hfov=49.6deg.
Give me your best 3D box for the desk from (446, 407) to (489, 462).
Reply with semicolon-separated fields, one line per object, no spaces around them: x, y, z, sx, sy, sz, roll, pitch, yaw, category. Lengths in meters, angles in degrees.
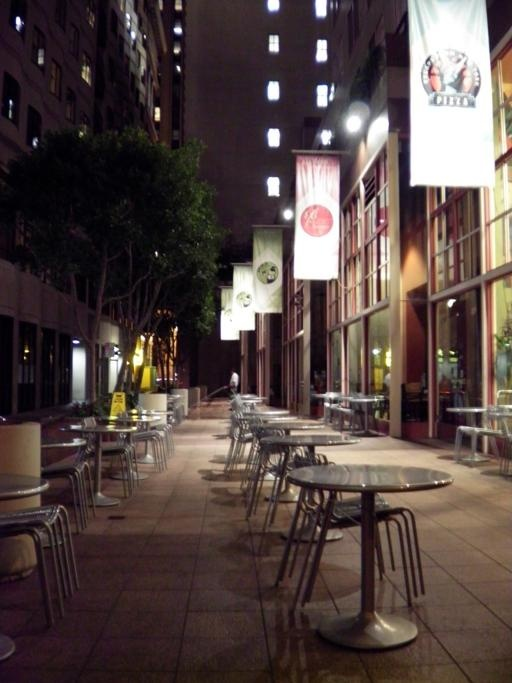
4.061;1.836;10.842;0.515;0.819;0.544;9;-2;41;desk
